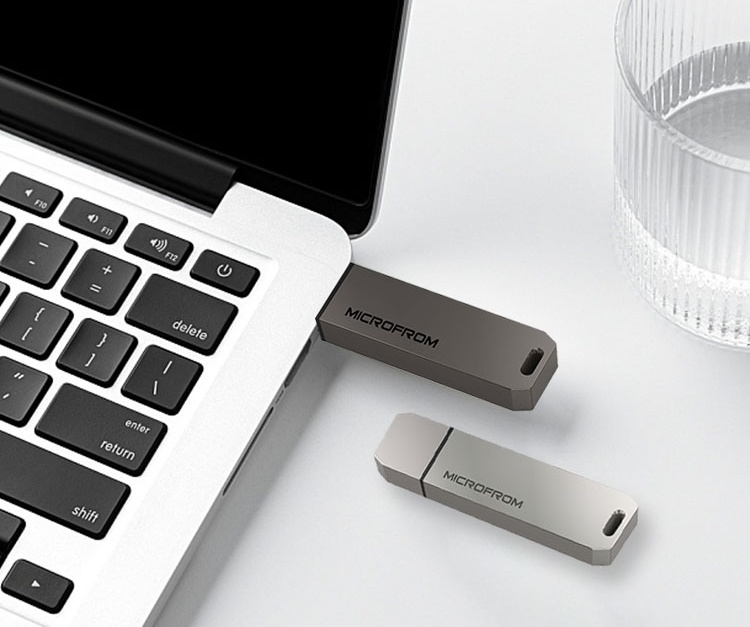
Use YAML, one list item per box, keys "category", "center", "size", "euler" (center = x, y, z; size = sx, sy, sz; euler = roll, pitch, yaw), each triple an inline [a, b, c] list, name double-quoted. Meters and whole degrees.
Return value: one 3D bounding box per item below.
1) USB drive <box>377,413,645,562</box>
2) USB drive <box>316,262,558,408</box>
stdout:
- category: "USB drive"
  center: [0.057, 0.098, 0.434]
  size: [0.173, 0.052, 0.023]
  euler: [21, -29, 17]
- category: "USB drive"
  center: [0.031, 0.021, 0.470]
  size: [0.148, 0.058, 0.029]
  euler: [21, -29, 15]
